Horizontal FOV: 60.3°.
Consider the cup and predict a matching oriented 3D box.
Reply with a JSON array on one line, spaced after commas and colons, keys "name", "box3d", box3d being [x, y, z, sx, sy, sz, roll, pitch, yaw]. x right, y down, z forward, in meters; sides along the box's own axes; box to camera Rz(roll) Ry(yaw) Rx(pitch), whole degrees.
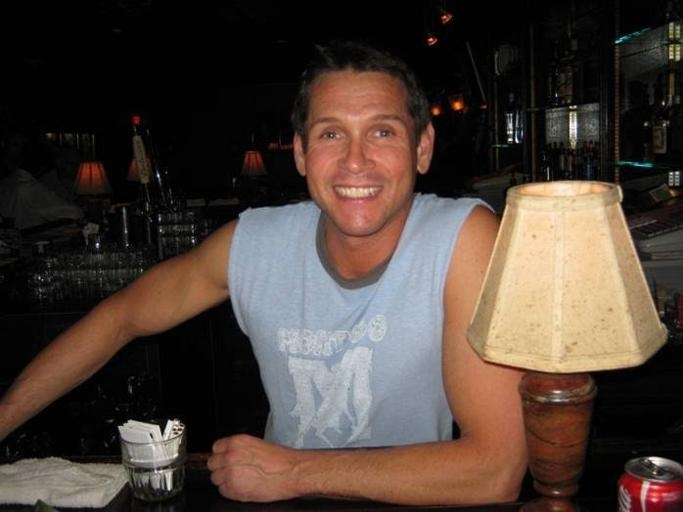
[{"name": "cup", "box3d": [-0.505, 0.555, 1.605, 0.172, 0.187, 0.175, -5, -1, 0]}]

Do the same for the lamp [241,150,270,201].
[{"name": "lamp", "box3d": [-1.332, -1.248, 8.929, 0.389, 0.623, 0.372, 0, 13, -3]}]
